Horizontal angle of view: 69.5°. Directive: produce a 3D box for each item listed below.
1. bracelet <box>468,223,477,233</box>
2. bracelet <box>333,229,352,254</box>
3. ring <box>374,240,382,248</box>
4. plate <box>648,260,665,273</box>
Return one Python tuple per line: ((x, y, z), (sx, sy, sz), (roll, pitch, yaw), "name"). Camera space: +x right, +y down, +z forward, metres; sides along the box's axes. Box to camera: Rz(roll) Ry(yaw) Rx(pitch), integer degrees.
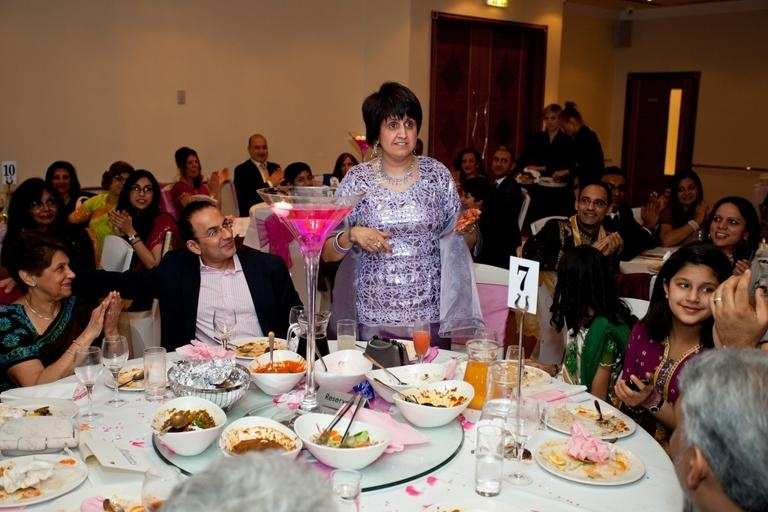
((0.451, -0.142, 2.829), (0.046, 0.053, 0.038), (4, -1, -18), "bracelet")
((-0.210, -0.062, 2.759), (0.093, 0.094, 0.086), (42, 0, 7), "bracelet")
((-0.024, -0.054, 2.578), (0.023, 0.030, 0.011), (-37, 23, 35), "ring")
((1.865, 0.071, 3.781), (0.070, 0.090, 0.221), (-2, -3, 19), "plate")
